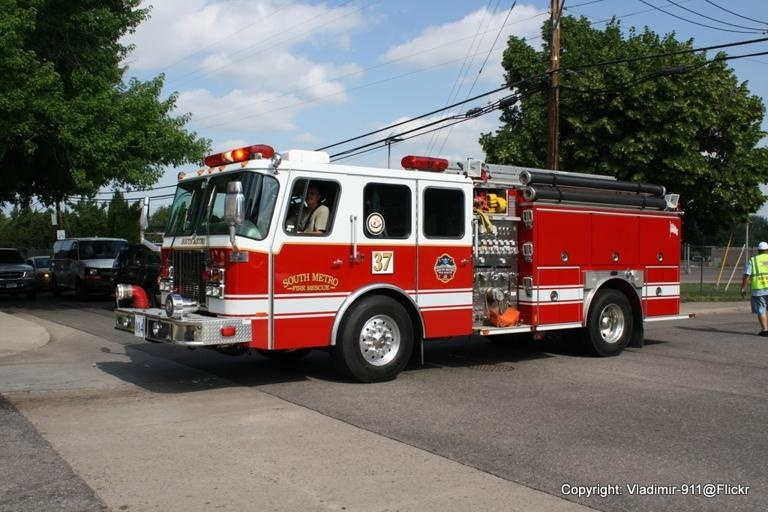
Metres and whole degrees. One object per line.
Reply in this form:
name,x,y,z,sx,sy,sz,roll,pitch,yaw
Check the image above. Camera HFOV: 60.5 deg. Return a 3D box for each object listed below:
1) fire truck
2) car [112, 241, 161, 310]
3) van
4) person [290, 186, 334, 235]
fire truck,1.199,0.123,13.799,11.696,4.028,4.593,1,-2,-34
car,-7.208,0.664,20.556,3.166,1.820,1.651,2,3,41
van,-11.527,0.350,25.657,2.407,1.823,4.451,2,-3,-33
person,-1.156,-0.736,10.471,0.652,0.810,0.215,-4,7,-40
